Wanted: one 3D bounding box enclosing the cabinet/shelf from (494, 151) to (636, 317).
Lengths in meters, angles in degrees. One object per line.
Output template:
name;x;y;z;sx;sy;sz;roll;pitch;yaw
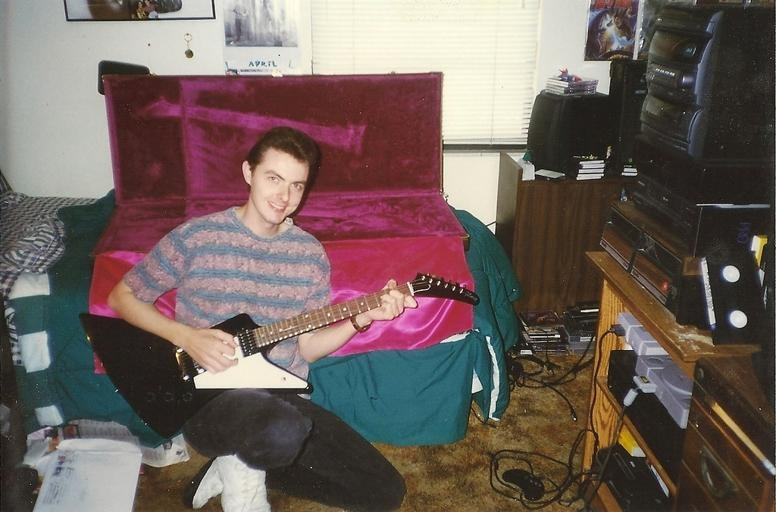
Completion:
cabinet/shelf;1.244;-0.140;4.039;0.466;0.767;0.814;9;2;-25

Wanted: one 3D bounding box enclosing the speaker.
speaker;1.138;-0.786;3.827;0.556;0.647;0.439;-6;18;-9

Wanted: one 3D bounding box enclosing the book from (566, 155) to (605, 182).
book;1.224;-0.550;3.814;0.236;0.140;0.128;0;17;7

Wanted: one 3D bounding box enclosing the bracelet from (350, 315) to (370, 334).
bracelet;-0.116;0.300;2.703;0.085;0.034;0.060;-15;56;-13
